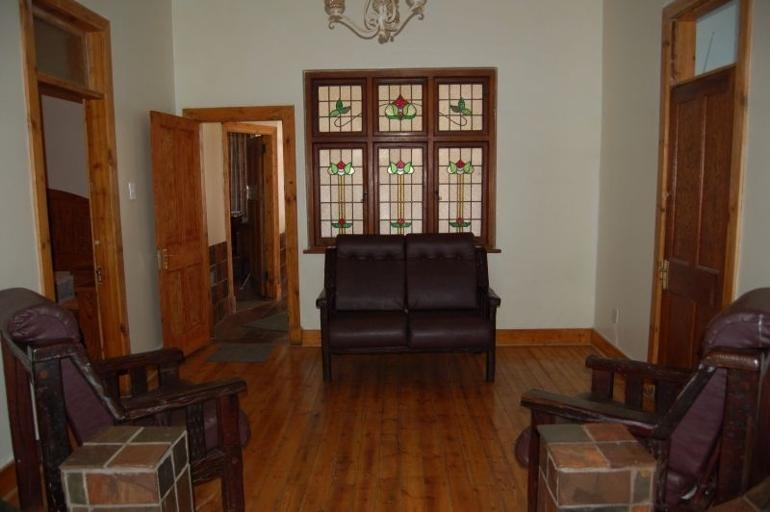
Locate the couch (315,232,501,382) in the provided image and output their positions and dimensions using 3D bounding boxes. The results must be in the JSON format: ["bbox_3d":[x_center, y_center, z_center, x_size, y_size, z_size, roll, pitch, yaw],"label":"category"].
[{"bbox_3d":[0.197,0.336,5.802,1.985,1.478,1.230,0,3,-1],"label":"couch"}]
